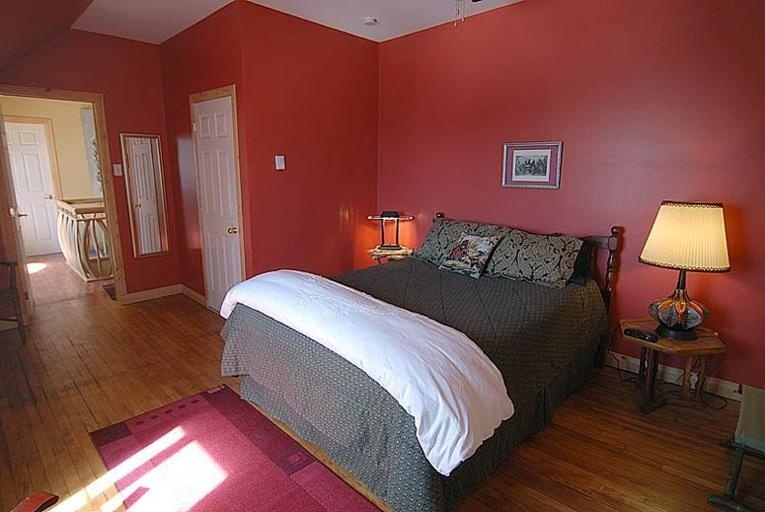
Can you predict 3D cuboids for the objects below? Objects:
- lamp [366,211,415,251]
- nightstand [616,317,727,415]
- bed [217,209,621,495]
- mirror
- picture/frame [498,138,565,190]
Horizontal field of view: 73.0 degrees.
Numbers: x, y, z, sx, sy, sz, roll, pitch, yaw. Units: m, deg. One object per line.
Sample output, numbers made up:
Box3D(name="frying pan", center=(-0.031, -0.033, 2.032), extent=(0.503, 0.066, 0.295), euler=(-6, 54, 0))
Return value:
Box3D(name="lamp", center=(0.119, -0.330, 6.592), extent=(0.230, 0.416, 0.481), euler=(-4, 6, -38))
Box3D(name="nightstand", center=(2.586, 0.875, 4.910), extent=(0.832, 0.649, 0.848), euler=(-15, 23, -23))
Box3D(name="bed", center=(0.720, 0.715, 4.581), extent=(2.593, 1.161, 2.478), euler=(-12, 19, -40))
Box3D(name="mirror", center=(-3.074, -0.761, 6.774), extent=(0.498, 1.671, 0.169), euler=(-12, 23, -37))
Box3D(name="picture/frame", center=(1.630, -0.988, 5.526), extent=(0.536, 0.469, 0.041), euler=(7, 11, 35))
